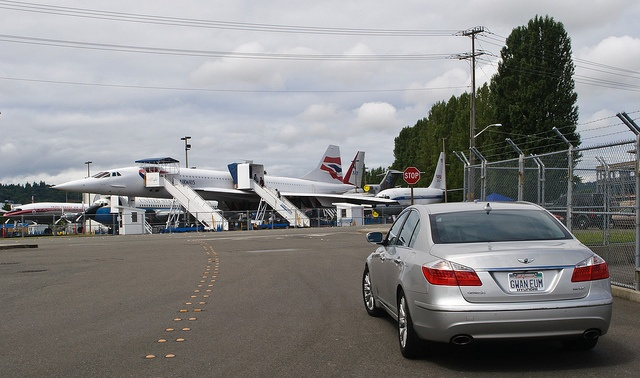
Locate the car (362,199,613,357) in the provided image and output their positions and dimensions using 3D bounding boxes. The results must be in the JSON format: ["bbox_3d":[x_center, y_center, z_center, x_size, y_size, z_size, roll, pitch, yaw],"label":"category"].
[{"bbox_3d":[2.708,1.512,8.517,3.953,2.637,1.888,-4,-1,28],"label":"car"}]

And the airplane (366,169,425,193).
[{"bbox_3d":[11.875,-1.318,85.851,7.810,2.903,8.411,-3,0,33],"label":"airplane"}]

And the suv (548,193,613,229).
[{"bbox_3d":[9.688,0.746,18.196,1.070,0.949,2.060,-5,1,-11],"label":"suv"}]

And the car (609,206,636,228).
[{"bbox_3d":[9.587,0.869,15.694,0.940,0.701,1.609,0,5,31],"label":"car"}]

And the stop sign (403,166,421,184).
[{"bbox_3d":[4.534,-0.686,24.430,0.647,0.871,1.460,-4,-1,8],"label":"stop sign"}]
